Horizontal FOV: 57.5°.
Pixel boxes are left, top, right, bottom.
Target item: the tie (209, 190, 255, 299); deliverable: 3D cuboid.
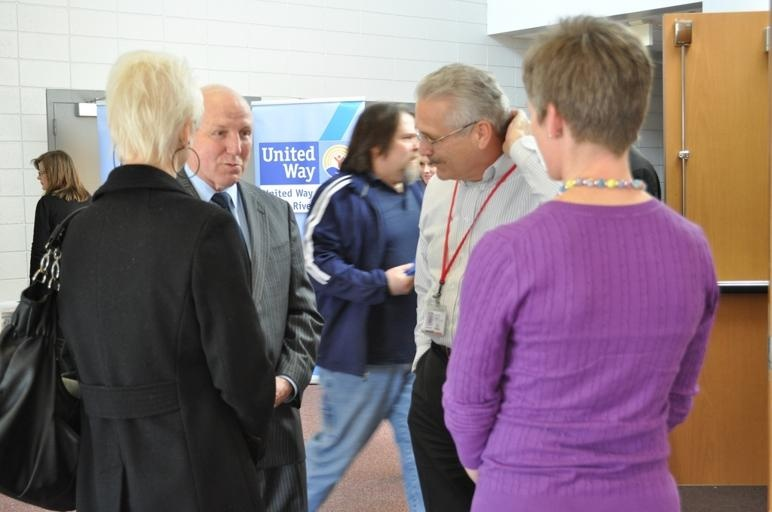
[{"bbox_3d":[-0.511,-0.052,2.555,0.064,0.357,0.217,-4,8,29],"label":"tie"}]
